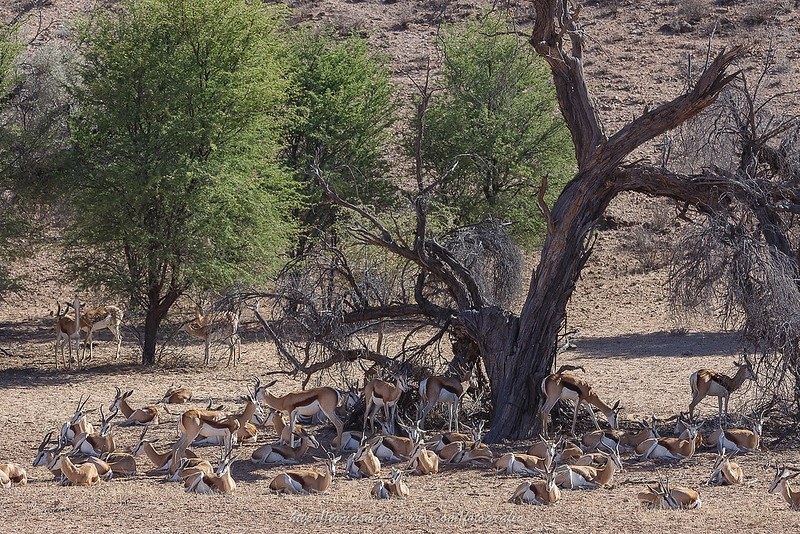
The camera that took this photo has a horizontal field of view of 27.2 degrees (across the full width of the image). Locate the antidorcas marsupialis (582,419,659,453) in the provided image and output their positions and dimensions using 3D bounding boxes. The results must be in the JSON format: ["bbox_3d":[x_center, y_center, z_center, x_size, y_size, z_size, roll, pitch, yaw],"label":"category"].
[{"bbox_3d":[6.376,4.859,48.088,1.506,0.829,1.865,-2,-1,39],"label":"antidorcas marsupialis"}]

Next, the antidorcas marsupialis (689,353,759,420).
[{"bbox_3d":[9.544,3.460,49.386,1.919,1.893,1.736,-1,-1,13],"label":"antidorcas marsupialis"}]

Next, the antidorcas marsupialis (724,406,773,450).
[{"bbox_3d":[9.785,4.827,47.909,2.293,0.962,0.843,1,-2,-45],"label":"antidorcas marsupialis"}]

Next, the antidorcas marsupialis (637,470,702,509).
[{"bbox_3d":[7.365,6.181,45.539,1.730,0.812,0.514,-1,-1,11],"label":"antidorcas marsupialis"}]

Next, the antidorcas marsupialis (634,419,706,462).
[{"bbox_3d":[7.687,4.887,47.892,1.451,1.200,1.635,-4,0,21],"label":"antidorcas marsupialis"}]

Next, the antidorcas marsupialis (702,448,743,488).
[{"bbox_3d":[9.084,5.564,46.619,1.131,0.975,0.457,-1,-1,0],"label":"antidorcas marsupialis"}]
